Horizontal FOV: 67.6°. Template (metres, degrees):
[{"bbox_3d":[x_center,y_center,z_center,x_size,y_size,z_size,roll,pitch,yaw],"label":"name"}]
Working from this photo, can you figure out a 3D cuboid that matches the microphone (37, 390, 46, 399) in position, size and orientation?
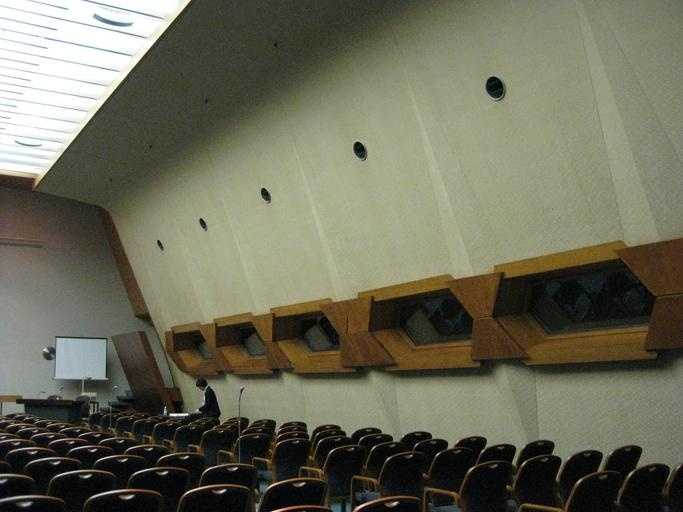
[{"bbox_3d":[-10.344,4.770,17.619,0.255,0.409,0.177,-3,-6,-13],"label":"microphone"}]

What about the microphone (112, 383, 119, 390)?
[{"bbox_3d":[-8.417,4.825,18.932,0.131,0.062,0.180,26,29,32],"label":"microphone"}]
